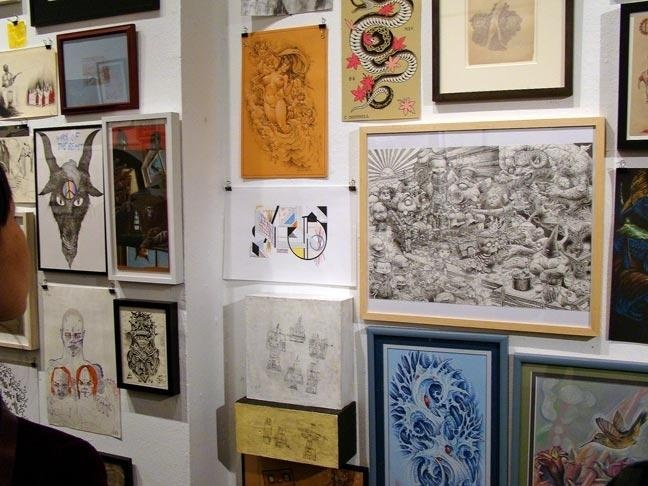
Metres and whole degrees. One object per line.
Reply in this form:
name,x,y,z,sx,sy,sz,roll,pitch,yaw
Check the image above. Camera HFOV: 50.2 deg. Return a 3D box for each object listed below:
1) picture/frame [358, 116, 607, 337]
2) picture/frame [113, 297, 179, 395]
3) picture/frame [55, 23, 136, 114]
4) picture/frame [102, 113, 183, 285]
picture/frame,0.538,-0.058,2.174,0.674,0.591,0.029,1,0,14
picture/frame,-0.588,0.340,2.313,0.290,0.422,0.060,4,4,22
picture/frame,-0.756,-0.587,2.320,0.297,0.276,0.030,1,6,19
picture/frame,-0.604,-0.148,2.292,0.275,0.548,0.067,3,5,24
